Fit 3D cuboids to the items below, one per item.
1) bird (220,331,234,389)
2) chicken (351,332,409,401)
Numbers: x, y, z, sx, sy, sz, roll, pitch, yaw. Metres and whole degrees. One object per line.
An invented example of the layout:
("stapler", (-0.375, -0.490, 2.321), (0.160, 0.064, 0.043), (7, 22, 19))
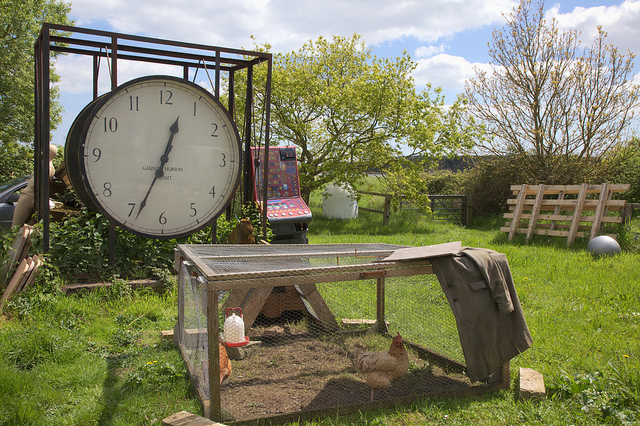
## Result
("bird", (-1.377, 2.140, 7.791), (0.177, 0.670, 0.456), (0, 10, -11))
("chicken", (0.869, 2.189, 7.904), (0.968, 0.953, 0.534), (1, 3, 43))
